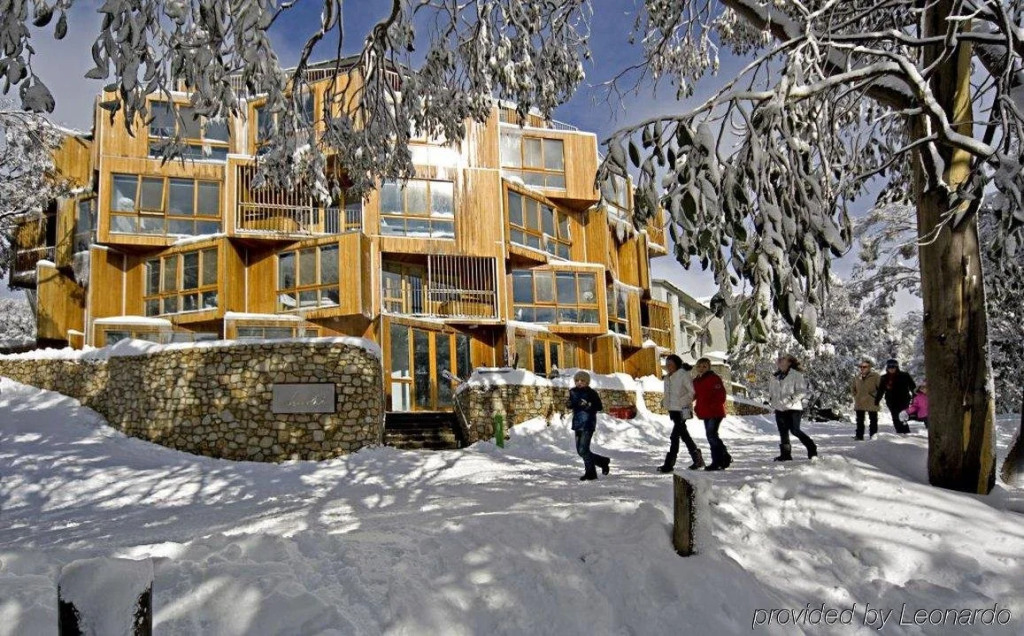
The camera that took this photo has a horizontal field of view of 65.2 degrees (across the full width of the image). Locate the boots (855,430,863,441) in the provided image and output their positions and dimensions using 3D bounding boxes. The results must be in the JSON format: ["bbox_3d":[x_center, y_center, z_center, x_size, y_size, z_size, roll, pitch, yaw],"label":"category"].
[{"bbox_3d":[9.102,3.065,20.903,0.193,0.257,0.214,4,4,35],"label":"boots"}]

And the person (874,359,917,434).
[{"bbox_3d":[9.985,2.008,20.713,0.937,1.871,1.554,0,-4,28],"label":"person"}]

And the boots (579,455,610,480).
[{"bbox_3d":[1.723,3.144,16.597,0.305,0.725,0.949,-10,-20,34],"label":"boots"}]

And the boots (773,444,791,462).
[{"bbox_3d":[5.785,2.867,17.025,0.325,0.386,0.497,1,-4,19],"label":"boots"}]

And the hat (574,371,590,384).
[{"bbox_3d":[1.435,1.226,16.400,0.203,0.254,0.272,2,-5,2],"label":"hat"}]

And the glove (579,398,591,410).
[{"bbox_3d":[1.492,1.760,16.292,0.209,0.205,0.021,2,-3,1],"label":"glove"}]
